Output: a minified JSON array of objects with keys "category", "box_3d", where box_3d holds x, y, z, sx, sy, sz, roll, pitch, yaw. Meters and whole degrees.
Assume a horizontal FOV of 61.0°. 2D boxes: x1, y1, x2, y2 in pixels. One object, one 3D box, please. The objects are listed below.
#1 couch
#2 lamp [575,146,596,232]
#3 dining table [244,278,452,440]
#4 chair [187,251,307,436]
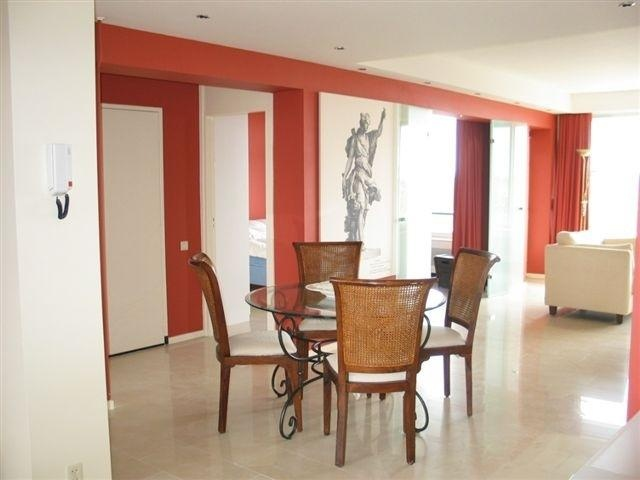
[{"category":"couch","box_3d":[3.538,0.456,7.125,1.030,1.109,1.032,4,9,29]},{"category":"lamp","box_3d":[4.559,-0.838,9.312,0.277,1.325,0.163,-3,9,-18]},{"category":"dining table","box_3d":[0.222,0.950,4.383,1.593,0.985,1.601,-1,-1,-2]},{"category":"chair","box_3d":[-0.641,0.611,4.672,1.252,1.819,0.945,-2,6,-4]}]
